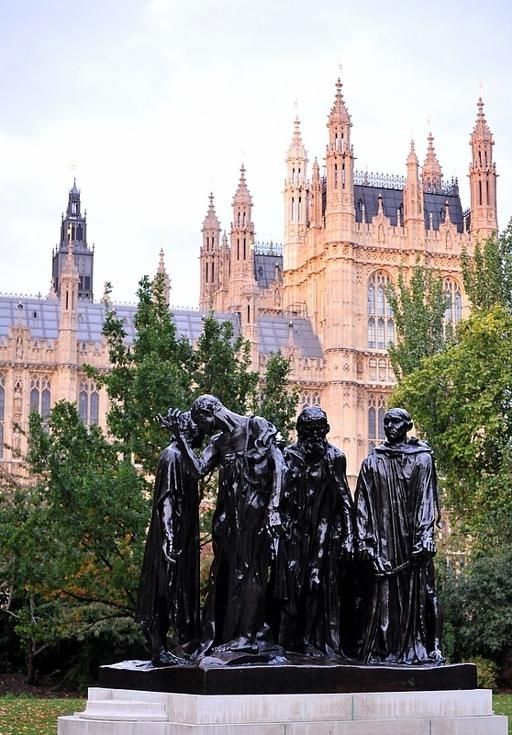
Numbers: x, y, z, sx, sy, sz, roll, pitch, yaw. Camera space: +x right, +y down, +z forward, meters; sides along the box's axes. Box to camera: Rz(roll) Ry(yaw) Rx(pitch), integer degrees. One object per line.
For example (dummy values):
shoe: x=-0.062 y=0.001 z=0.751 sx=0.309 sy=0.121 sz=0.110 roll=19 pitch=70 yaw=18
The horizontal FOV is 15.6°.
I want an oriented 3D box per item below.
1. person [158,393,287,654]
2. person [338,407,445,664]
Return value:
person: x=-0.216 y=1.494 z=17.769 sx=1.009 sy=2.591 sz=0.900 roll=-2 pitch=-9 yaw=5
person: x=1.387 y=1.651 z=18.450 sx=0.878 sy=2.578 sz=0.765 roll=-2 pitch=-9 yaw=4
